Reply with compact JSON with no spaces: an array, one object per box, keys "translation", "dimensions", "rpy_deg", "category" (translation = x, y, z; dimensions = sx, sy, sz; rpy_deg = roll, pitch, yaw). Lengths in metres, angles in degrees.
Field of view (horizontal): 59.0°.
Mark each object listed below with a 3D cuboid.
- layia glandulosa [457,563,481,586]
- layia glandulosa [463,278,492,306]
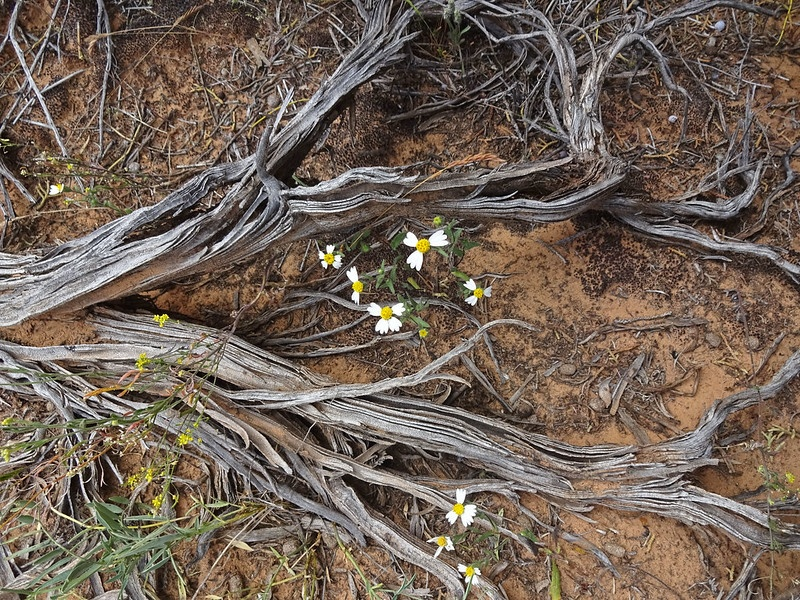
[{"translation":[0.314,1.261,3.318],"dimensions":[0.047,0.112,0.104],"rpy_deg":[-19,29,-40],"category":"layia glandulosa"},{"translation":[0.353,-0.043,3.266],"dimensions":[0.123,0.131,0.048],"rpy_deg":[20,12,31],"category":"layia glandulosa"}]
